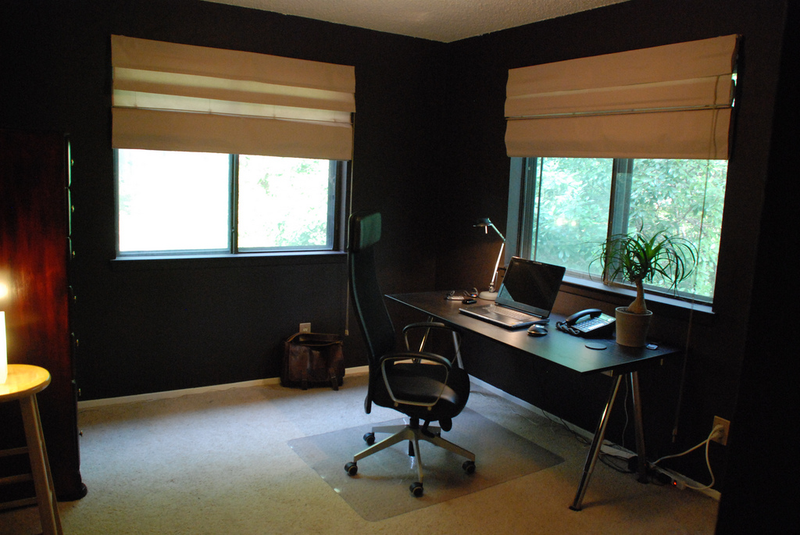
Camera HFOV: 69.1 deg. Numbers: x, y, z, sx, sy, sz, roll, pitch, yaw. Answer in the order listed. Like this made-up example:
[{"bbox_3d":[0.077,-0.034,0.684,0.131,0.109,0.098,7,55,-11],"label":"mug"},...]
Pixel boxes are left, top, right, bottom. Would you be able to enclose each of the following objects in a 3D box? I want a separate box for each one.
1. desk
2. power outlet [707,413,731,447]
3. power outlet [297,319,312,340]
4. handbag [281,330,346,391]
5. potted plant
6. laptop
[{"bbox_3d":[0.874,0.873,3.996,0.752,1.065,1.594,-9,11,-43],"label":"desk"},{"bbox_3d":[1.975,1.016,3.588,0.094,0.180,0.102,3,10,26],"label":"power outlet"},{"bbox_3d":[-0.838,0.540,5.040,0.167,0.220,0.044,3,-7,-21],"label":"power outlet"},{"bbox_3d":[-0.733,0.749,5.051,0.564,0.523,0.465,2,-2,-29],"label":"handbag"},{"bbox_3d":[1.547,0.134,3.714,0.542,0.703,0.563,4,4,19],"label":"potted plant"},{"bbox_3d":[0.812,0.184,4.180,0.593,0.383,0.579,-5,11,-32],"label":"laptop"}]
